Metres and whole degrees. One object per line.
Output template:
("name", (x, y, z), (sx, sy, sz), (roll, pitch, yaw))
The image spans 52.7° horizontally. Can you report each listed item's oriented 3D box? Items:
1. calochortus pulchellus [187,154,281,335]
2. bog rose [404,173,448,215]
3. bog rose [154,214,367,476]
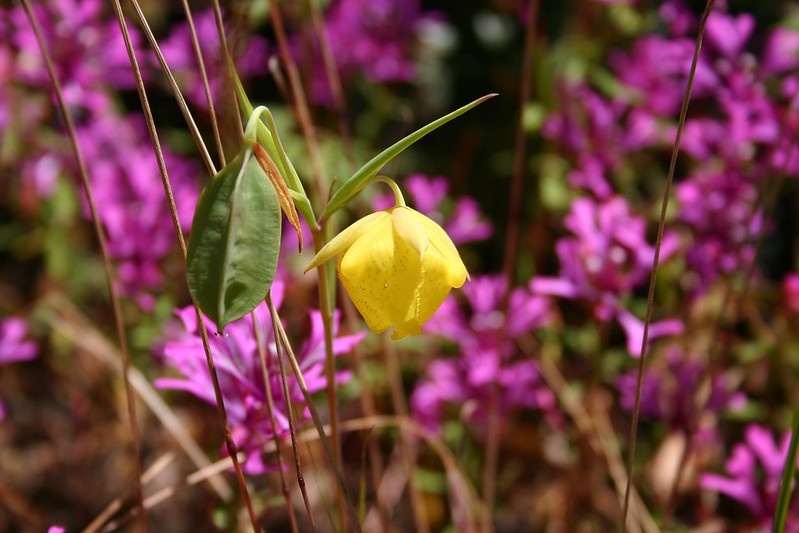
("calochortus pulchellus", (-0.248, -0.028, 1.199), (0.091, 0.335, 0.110), (0, 14, -1))
("bog rose", (0.065, -0.167, 1.988), (0.083, 0.097, 0.097), (-11, -16, 34))
("bog rose", (-0.244, 0.139, 1.395), (0.305, 0.353, 0.220), (-9, -23, -31))
